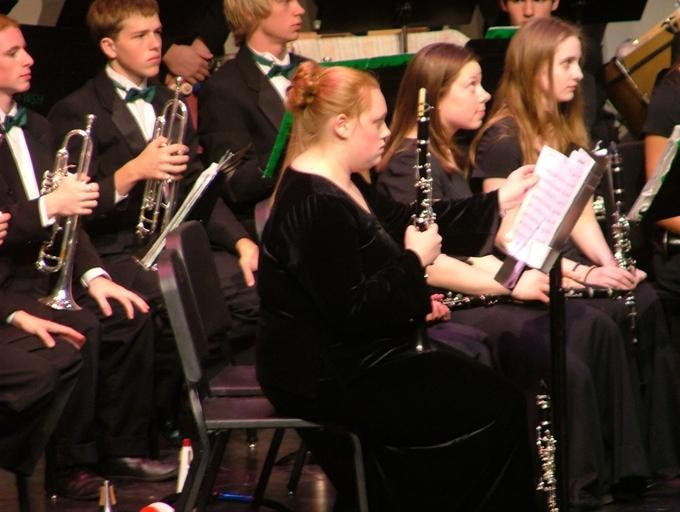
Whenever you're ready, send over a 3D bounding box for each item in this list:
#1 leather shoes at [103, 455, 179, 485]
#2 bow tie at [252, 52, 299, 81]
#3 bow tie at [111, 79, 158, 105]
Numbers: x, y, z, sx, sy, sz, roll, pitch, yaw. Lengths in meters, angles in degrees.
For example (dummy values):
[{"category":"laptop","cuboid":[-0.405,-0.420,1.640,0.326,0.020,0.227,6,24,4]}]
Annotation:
[{"category":"leather shoes","cuboid":[-0.833,0.902,3.302,0.334,0.133,0.116,-3,0,0]},{"category":"bow tie","cuboid":[-0.326,-0.941,3.857,0.165,0.069,0.164,25,22,24]},{"category":"bow tie","cuboid":[-0.956,-0.775,3.690,0.138,0.063,0.127,22,17,37]}]
